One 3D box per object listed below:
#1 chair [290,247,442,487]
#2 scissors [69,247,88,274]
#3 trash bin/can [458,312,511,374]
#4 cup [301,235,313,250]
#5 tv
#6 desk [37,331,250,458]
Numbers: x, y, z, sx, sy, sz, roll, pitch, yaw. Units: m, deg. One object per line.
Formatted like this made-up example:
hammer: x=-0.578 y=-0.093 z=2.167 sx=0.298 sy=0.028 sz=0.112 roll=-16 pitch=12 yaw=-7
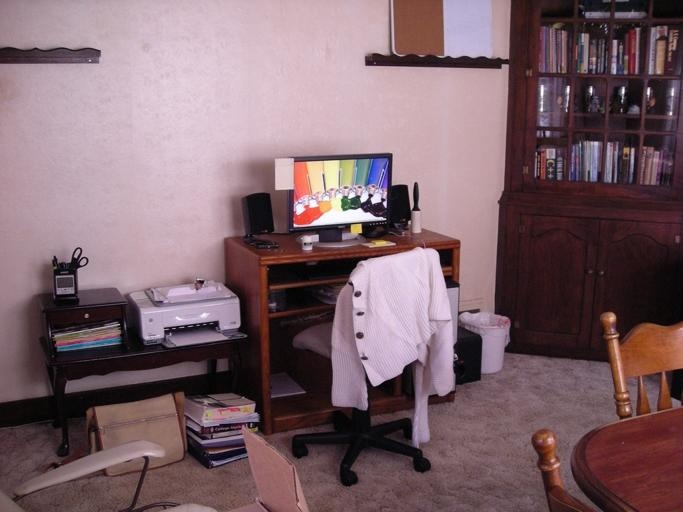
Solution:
chair: x=0.179 y=0.562 z=3.108 sx=0.813 sy=1.243 sz=0.482 roll=-6 pitch=14 yaw=-12
scissors: x=-1.589 y=0.022 z=3.378 sx=0.139 sy=0.143 sz=0.036 roll=2 pitch=17 yaw=-30
trash bin/can: x=1.148 y=0.626 z=4.289 sx=0.427 sy=0.429 sz=0.382 roll=1 pitch=8 yaw=30
cup: x=-0.212 y=-0.081 z=3.399 sx=0.062 sy=0.071 sz=0.086 roll=-2 pitch=16 yaw=-12
tv: x=-0.013 y=-0.360 z=3.535 sx=0.548 sy=0.417 sz=0.162 roll=-5 pitch=17 yaw=-18
desk: x=-1.186 y=0.794 z=3.451 sx=1.077 sy=0.546 sz=0.501 roll=-3 pitch=4 yaw=-32
